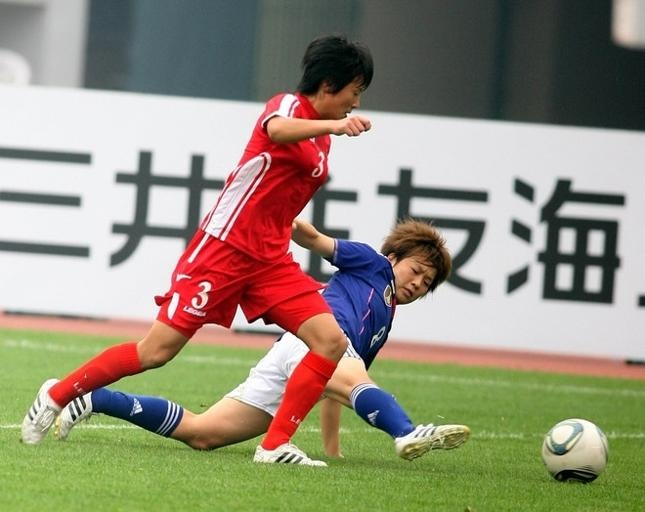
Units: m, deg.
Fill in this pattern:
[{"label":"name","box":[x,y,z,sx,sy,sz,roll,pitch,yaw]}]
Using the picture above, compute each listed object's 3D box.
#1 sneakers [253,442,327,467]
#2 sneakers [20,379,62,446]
[{"label":"sneakers","box":[-0.188,1.035,5.969,0.411,0.166,0.141,3,-14,-1]},{"label":"sneakers","box":[-1.497,0.852,6.070,0.162,0.136,0.399,5,-27,6]}]
